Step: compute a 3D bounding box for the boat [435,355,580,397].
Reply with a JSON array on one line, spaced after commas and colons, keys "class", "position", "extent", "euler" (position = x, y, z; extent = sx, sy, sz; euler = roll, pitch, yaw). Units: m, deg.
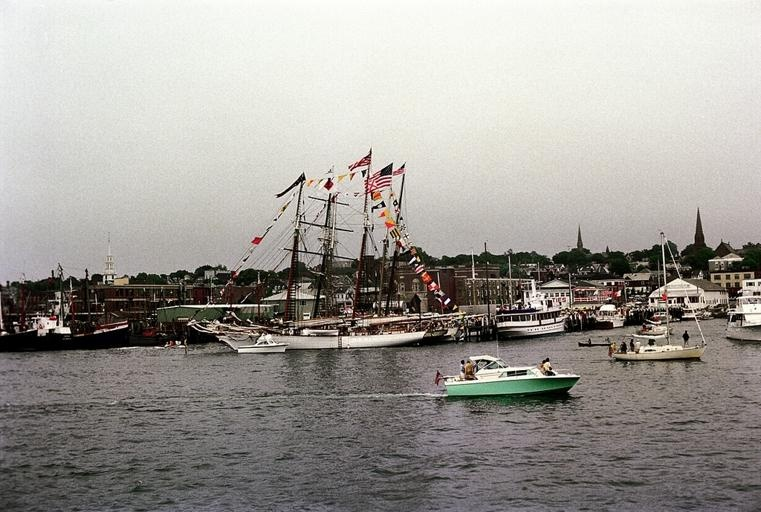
[{"class": "boat", "position": [10.725, 10.927, 60.934], "extent": [14.640, 4.496, 4.389], "euler": [-2, -1, 2]}]

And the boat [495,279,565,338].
[{"class": "boat", "position": [28.312, 10.944, 133.284], "extent": [7.667, 9.387, 20.328], "euler": [-1, -2, 30]}]
